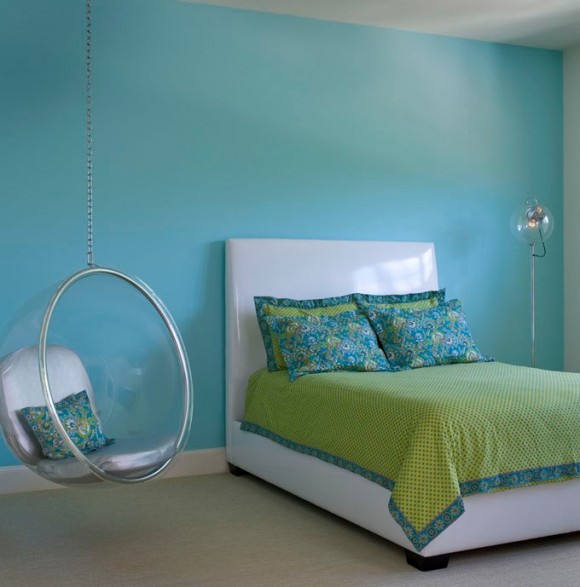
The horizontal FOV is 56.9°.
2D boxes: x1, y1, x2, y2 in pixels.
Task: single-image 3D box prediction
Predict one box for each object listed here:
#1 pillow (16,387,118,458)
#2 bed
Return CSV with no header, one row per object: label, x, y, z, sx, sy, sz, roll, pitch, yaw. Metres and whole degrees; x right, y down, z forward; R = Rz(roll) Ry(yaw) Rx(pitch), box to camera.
pillow,-0.655,0.381,1.545,0.248,0.198,0.117,-1,-4,5
bed,0.505,0.318,2.795,1.178,1.273,1.571,-1,-1,-32
